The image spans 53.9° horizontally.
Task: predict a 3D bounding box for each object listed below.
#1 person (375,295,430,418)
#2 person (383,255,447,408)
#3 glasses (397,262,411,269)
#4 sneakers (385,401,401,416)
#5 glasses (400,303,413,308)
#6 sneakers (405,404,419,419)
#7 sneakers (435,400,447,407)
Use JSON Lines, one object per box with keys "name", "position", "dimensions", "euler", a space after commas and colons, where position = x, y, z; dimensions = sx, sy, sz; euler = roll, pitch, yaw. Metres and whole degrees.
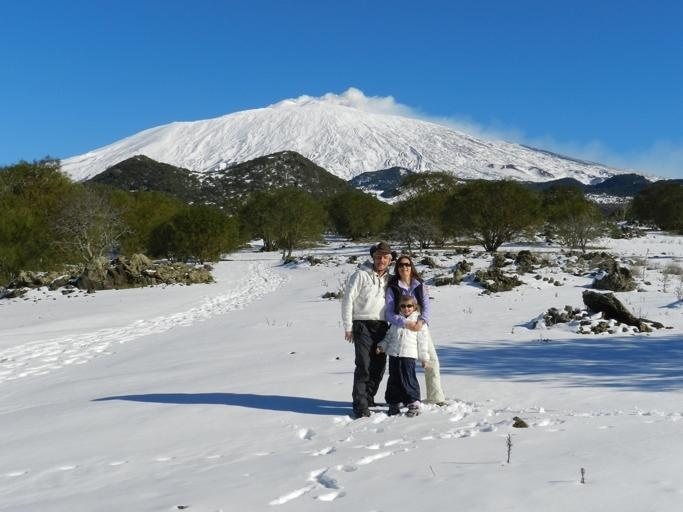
{"name": "person", "position": [1.037, 1.839, 10.939], "dimensions": [0.798, 1.432, 0.582], "euler": [-2, 8, 7]}
{"name": "person", "position": [1.254, 1.476, 11.510], "dimensions": [0.699, 0.624, 2.219], "euler": [-5, 41, 4]}
{"name": "glasses", "position": [1.045, 0.148, 11.107], "dimensions": [0.233, 0.093, 0.104], "euler": [-3, 8, -3]}
{"name": "sneakers", "position": [0.866, 2.524, 11.019], "dimensions": [0.205, 0.205, 0.144], "euler": [-5, -7, 45]}
{"name": "glasses", "position": [1.058, 0.800, 10.893], "dimensions": [0.195, 0.087, 0.051], "euler": [-2, 8, 5]}
{"name": "sneakers", "position": [1.161, 2.495, 10.769], "dimensions": [0.149, 0.077, 0.197], "euler": [-10, 16, 11]}
{"name": "sneakers", "position": [1.674, 2.462, 11.174], "dimensions": [0.188, 0.088, 0.071], "euler": [-6, -1, 25]}
